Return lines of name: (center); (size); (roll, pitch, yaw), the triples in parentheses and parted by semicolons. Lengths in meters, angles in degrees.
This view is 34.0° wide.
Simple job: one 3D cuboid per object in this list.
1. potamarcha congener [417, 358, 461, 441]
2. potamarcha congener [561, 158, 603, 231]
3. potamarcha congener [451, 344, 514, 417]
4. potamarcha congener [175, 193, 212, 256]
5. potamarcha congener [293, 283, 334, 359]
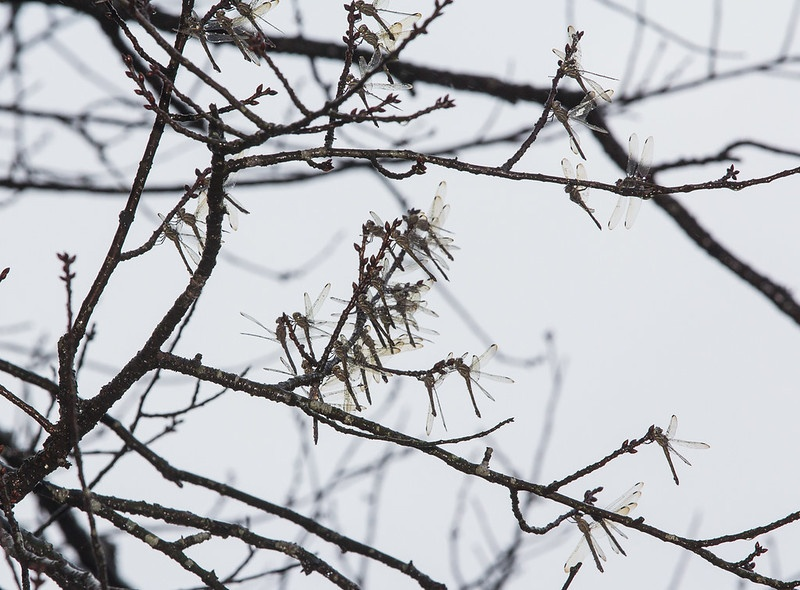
potamarcha congener: (0.177, 0.524, 6.176); (0.084, 0.311, 0.404); (24, -63, 10)
potamarcha congener: (0.991, -0.542, 6.976); (0.233, 0.084, 0.459); (2, -50, 37)
potamarcha congener: (0.401, 0.472, 7.123); (0.469, 0.353, 0.251); (9, -64, -10)
potamarcha congener: (-1.138, -0.363, 7.231); (0.250, 0.341, 0.165); (42, -107, -13)
potamarcha congener: (-0.485, 0.144, 7.382); (0.233, 0.485, 0.127); (13, -52, -4)
